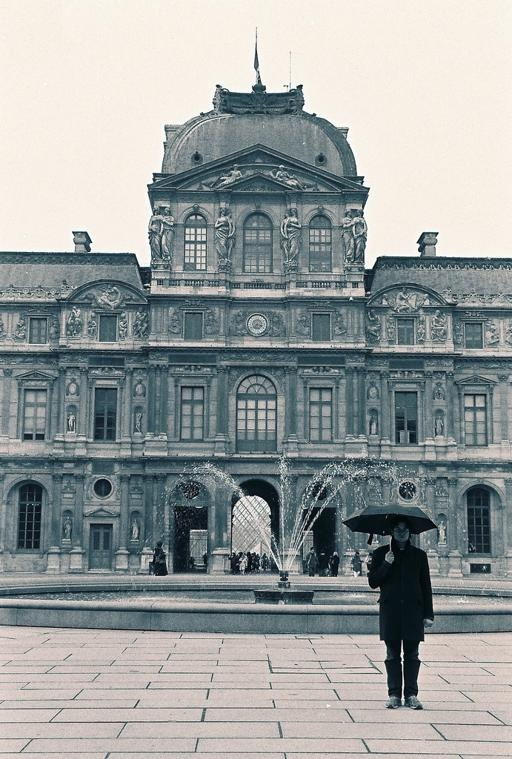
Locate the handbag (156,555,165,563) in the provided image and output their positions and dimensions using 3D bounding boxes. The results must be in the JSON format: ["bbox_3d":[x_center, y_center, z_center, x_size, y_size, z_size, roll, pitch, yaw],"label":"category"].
[{"bbox_3d":[-3.549,6.676,41.365,0.366,0.228,0.386,-3,28,-2],"label":"handbag"}]

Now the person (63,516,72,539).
[{"bbox_3d":[-8.220,6.460,48.541,0.417,1.029,0.143,0,-8,-1],"label":"person"}]

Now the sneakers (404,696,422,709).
[{"bbox_3d":[1.628,3.343,11.543,0.206,0.123,0.167,-3,-10,18],"label":"sneakers"}]

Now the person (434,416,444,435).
[{"bbox_3d":[8.204,2.037,49.657,0.378,0.875,0.194,0,-8,3],"label":"person"}]

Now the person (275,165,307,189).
[{"bbox_3d":[1.491,-9.220,50.438,1.419,1.315,0.485,0,-8,-2],"label":"person"}]

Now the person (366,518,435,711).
[{"bbox_3d":[1.548,2.480,11.907,0.662,1.946,0.642,-1,-9,8],"label":"person"}]

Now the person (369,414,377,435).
[{"bbox_3d":[5.247,1.930,49.525,0.394,1.074,0.204,1,-8,-5],"label":"person"}]

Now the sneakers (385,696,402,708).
[{"bbox_3d":[1.446,3.351,11.561,0.221,0.111,0.161,4,-10,-22],"label":"sneakers"}]

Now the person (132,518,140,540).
[{"bbox_3d":[-5.210,6.478,48.198,0.356,0.897,0.161,3,-9,-18],"label":"person"}]

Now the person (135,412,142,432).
[{"bbox_3d":[-5.211,1.853,49.286,0.364,0.922,0.230,1,-8,-6],"label":"person"}]

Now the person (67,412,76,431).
[{"bbox_3d":[-8.165,1.891,49.315,0.366,0.862,0.174,3,-9,-17],"label":"person"}]

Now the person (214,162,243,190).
[{"bbox_3d":[-1.248,-9.239,50.344,1.118,2.285,0.403,5,-48,15],"label":"person"}]
